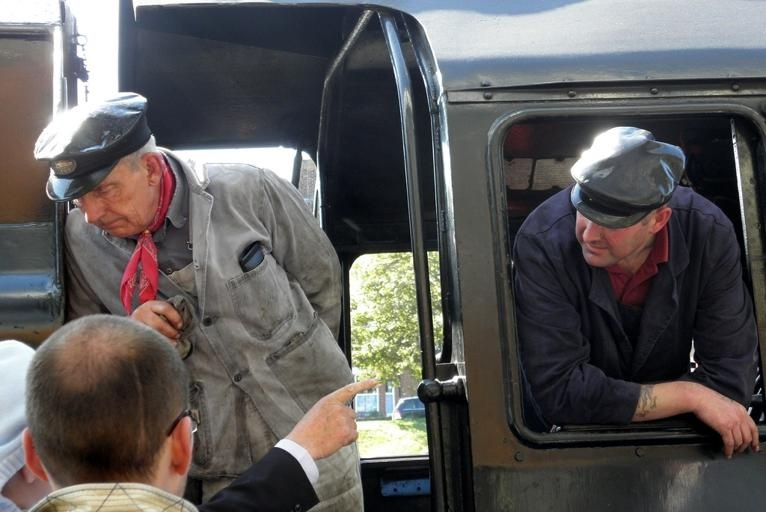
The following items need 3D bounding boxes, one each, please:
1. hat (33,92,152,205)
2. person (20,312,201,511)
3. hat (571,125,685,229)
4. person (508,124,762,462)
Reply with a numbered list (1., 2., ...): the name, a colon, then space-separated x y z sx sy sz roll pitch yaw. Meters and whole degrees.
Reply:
1. hat: -1.232 -0.437 4.006 0.403 0.195 0.547 9 37 23
2. person: -0.902 0.511 3.494 0.599 0.971 0.639 1 4 0
3. hat: 1.063 -0.343 4.017 0.386 0.195 0.519 6 -22 12
4. person: 1.114 0.207 4.195 0.860 1.536 0.977 -11 28 1
